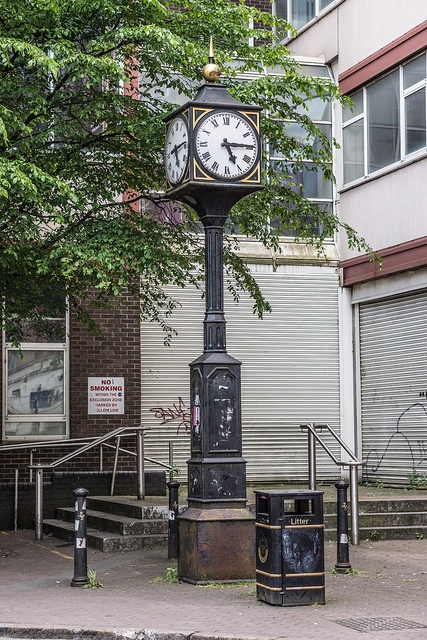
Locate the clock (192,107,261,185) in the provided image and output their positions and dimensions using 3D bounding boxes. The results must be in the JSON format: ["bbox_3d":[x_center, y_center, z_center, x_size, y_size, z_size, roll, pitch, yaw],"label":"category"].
[{"bbox_3d":[0.083,-1.637,10.800,0.706,0.745,0.044,3,-8,-36],"label":"clock"}]

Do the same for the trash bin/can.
[{"bbox_3d":[0.657,1.894,9.609,0.593,0.926,0.569,1,-6,-9],"label":"trash bin/can"}]
